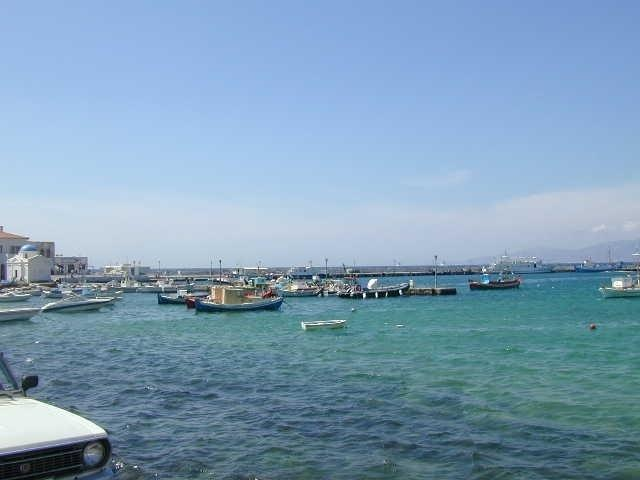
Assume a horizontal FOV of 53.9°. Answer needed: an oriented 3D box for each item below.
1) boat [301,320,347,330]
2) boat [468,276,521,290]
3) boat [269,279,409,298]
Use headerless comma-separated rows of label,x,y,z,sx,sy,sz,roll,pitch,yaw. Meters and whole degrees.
boat,0.622,6.596,48.502,3.554,0.413,1.109,-1,2,-18
boat,36.391,8.838,130.637,10.016,1.368,2.505,-1,-10,-14
boat,3.815,7.621,98.952,16.926,2.853,11.269,0,-1,30
